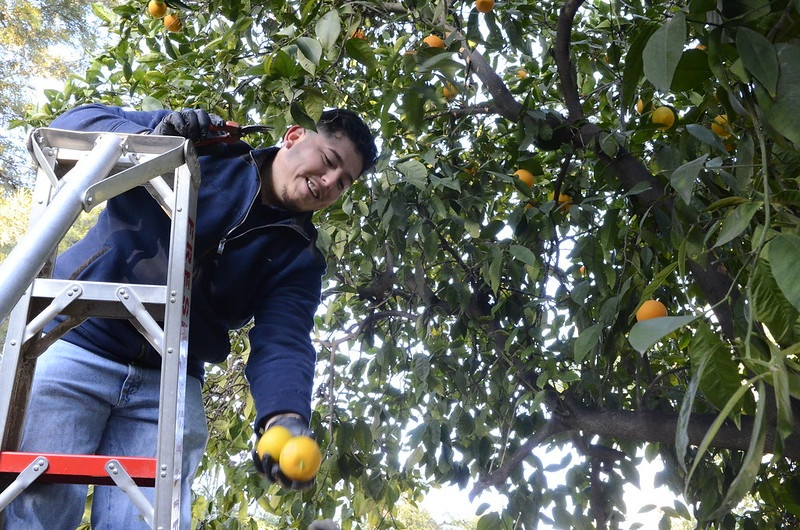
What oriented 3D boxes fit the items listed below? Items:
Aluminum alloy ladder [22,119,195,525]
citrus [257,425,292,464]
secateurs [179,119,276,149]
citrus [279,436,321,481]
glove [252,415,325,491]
[{"bbox_3d":[-0.855,0.211,2.312,0.480,1.368,0.544,4,1,-34],"label":"Aluminum alloy ladder"},{"bbox_3d":[-0.398,0.578,2.378,0.094,0.119,0.097,13,-30,-21],"label":"citrus"},{"bbox_3d":[-0.600,-0.459,2.538,0.219,0.089,0.260,6,4,41],"label":"secateurs"},{"bbox_3d":[-0.305,0.595,2.232,0.121,0.125,0.145,13,-8,-6],"label":"citrus"},{"bbox_3d":[-0.360,0.588,2.319,0.167,0.220,0.163,3,-5,-7],"label":"glove"}]
